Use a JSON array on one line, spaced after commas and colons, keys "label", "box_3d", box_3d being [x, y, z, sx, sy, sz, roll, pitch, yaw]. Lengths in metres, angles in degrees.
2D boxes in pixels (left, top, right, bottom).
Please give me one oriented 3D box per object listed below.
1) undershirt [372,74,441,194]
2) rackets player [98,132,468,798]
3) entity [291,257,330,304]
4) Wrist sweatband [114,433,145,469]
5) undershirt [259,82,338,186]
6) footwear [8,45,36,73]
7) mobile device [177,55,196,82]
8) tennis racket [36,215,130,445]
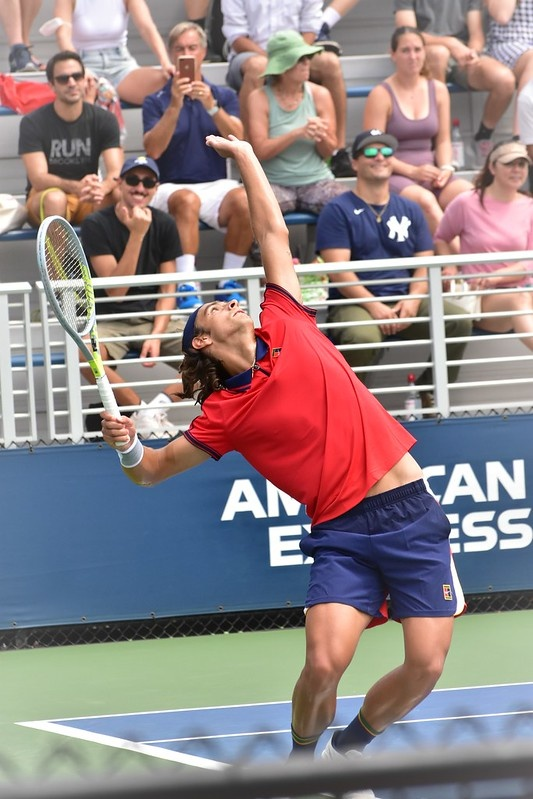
[{"label": "undershirt", "box_3d": [1.053, -2.023, 7.764, 0.475, 0.871, 0.440, -10, 20, -30]}, {"label": "rackets player", "box_3d": [0.099, 0.162, 3.363, 1.008, 1.988, 0.603, -2, 3, 25]}, {"label": "entity", "box_3d": [0.294, -0.687, 6.174, 0.300, 0.382, 0.139, -3, 4, -1]}, {"label": "Wrist sweatband", "box_3d": [-0.450, 0.181, 3.419, 0.079, 0.106, 0.113, -2, 12, -3]}, {"label": "undershirt", "box_3d": [0.199, -1.817, 7.105, 0.439, 0.700, 0.490, 12, 13, 33]}, {"label": "footwear", "box_3d": [-1.989, -2.752, 8.235, 0.127, 0.160, 0.360, -7, 4, -19]}, {"label": "mobile device", "box_3d": [-0.541, -2.249, 6.894, 0.121, 0.199, 0.272, -3, 3, -3]}, {"label": "tennis racket", "box_3d": [-0.664, -0.313, 3.604, 0.280, 0.920, 0.074, -6, -16, -43]}]
